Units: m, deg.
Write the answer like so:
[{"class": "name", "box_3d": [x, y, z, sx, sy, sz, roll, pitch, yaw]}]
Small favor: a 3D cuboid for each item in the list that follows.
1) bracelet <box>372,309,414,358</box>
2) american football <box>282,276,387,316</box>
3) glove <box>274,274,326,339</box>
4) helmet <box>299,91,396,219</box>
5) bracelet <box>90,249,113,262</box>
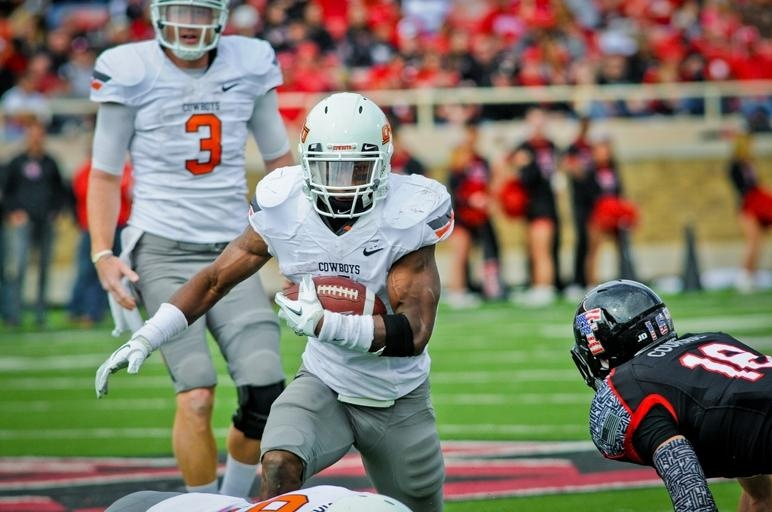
[{"class": "bracelet", "box_3d": [0.063, 0.415, 5.292, 0.178, 0.218, 0.065, 2, 6, -3]}, {"class": "american football", "box_3d": [-0.223, 0.177, 5.424, 0.485, 0.249, 0.235, 18, 1, 1]}, {"class": "glove", "box_3d": [-0.444, 0.259, 5.295, 0.280, 0.306, 0.177, 4, 6, 14]}, {"class": "helmet", "box_3d": [-0.223, -0.551, 5.456, 0.502, 0.687, 0.255, 2, 6, -6]}, {"class": "bracelet", "box_3d": [-1.708, -0.004, 6.023, 0.090, 0.032, 0.083, -22, -7, -12]}]
